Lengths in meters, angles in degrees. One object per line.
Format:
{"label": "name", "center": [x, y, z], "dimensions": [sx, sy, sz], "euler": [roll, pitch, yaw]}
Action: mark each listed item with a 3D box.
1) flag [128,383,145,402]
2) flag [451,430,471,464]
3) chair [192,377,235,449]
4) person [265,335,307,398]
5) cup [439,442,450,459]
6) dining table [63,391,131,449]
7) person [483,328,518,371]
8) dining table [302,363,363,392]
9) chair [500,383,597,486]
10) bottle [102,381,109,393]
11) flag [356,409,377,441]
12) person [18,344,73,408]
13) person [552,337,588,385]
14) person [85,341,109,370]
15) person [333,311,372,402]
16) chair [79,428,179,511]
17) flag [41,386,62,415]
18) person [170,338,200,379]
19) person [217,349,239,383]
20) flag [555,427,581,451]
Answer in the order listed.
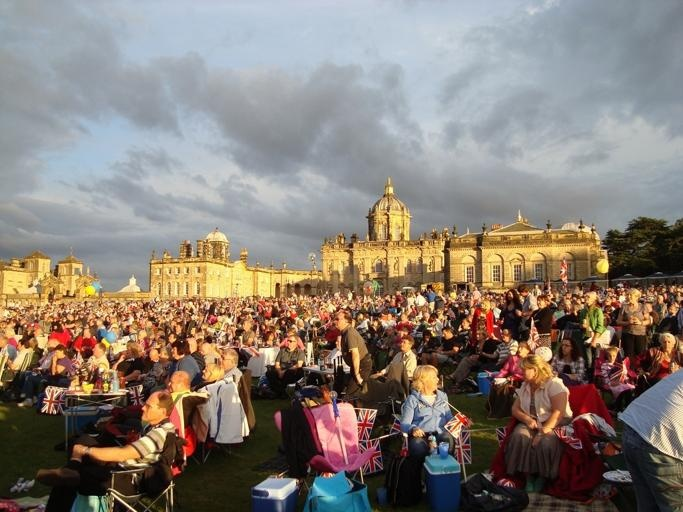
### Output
{"label": "flag", "center": [-4.272, 2.868, 12.301], "dimensions": [0.341, 0.480, 0.053], "euler": [-5, -14, -7]}
{"label": "flag", "center": [1.836, 2.950, 9.066], "dimensions": [0.492, 0.582, 0.036], "euler": [0, -3, -2]}
{"label": "chair", "center": [-2.213, 2.723, 10.247], "dimensions": [0.397, 1.326, 0.904], "euler": [-1, -17, 19]}
{"label": "person", "center": [-1.398, 2.760, 14.871], "dimensions": [0.971, 1.533, 0.732], "euler": [1, -5, -4]}
{"label": "cup", "center": [1.475, 2.816, 8.540], "dimensions": [0.181, 0.199, 0.185], "euler": [-2, -10, 0]}
{"label": "dining table", "center": [-4.776, 2.995, 11.515], "dimensions": [1.197, 1.180, 1.096], "euler": [3, -9, -31]}
{"label": "person", "center": [3.896, 2.261, 14.227], "dimensions": [0.792, 0.934, 0.582], "euler": [2, -4, -30]}
{"label": "dining table", "center": [-0.148, 2.533, 12.277], "dimensions": [0.583, 0.555, 1.072], "euler": [3, -6, -37]}
{"label": "chair", "center": [3.337, 2.618, 9.081], "dimensions": [1.453, 1.361, 1.462], "euler": [8, -7, 45]}
{"label": "bottle", "center": [-4.646, 2.597, 11.643], "dimensions": [0.125, 0.218, 0.135], "euler": [-1, -11, 0]}
{"label": "flag", "center": [0.385, 2.653, 9.355], "dimensions": [0.295, 0.474, 0.362], "euler": [1, -5, -1]}
{"label": "person", "center": [-7.351, 2.894, 14.538], "dimensions": [0.607, 1.524, 1.039], "euler": [18, 2, 40]}
{"label": "person", "center": [4.426, 2.072, 11.552], "dimensions": [0.714, 1.060, 0.673], "euler": [1, 11, 21]}
{"label": "person", "center": [-5.668, 2.330, 13.672], "dimensions": [0.449, 0.597, 0.876], "euler": [3, -5, -25]}
{"label": "person", "center": [0.230, 2.185, 12.705], "dimensions": [0.654, 0.762, 1.871], "euler": [4, 24, -7]}
{"label": "chair", "center": [-2.930, 2.923, 8.166], "dimensions": [1.179, 0.906, 1.005], "euler": [7, -15, -14]}
{"label": "flag", "center": [-6.556, 3.287, 13.332], "dimensions": [0.406, 0.751, 0.450], "euler": [-15, -19, 41]}
{"label": "person", "center": [-3.257, 2.256, 12.335], "dimensions": [0.538, 0.968, 0.920], "euler": [2, 3, -19]}
{"label": "person", "center": [-2.064, 2.067, 11.133], "dimensions": [0.431, 0.618, 0.941], "euler": [6, 4, -11]}
{"label": "flag", "center": [3.371, 2.681, 8.671], "dimensions": [0.255, 0.138, 0.347], "euler": [-7, 36, -8]}
